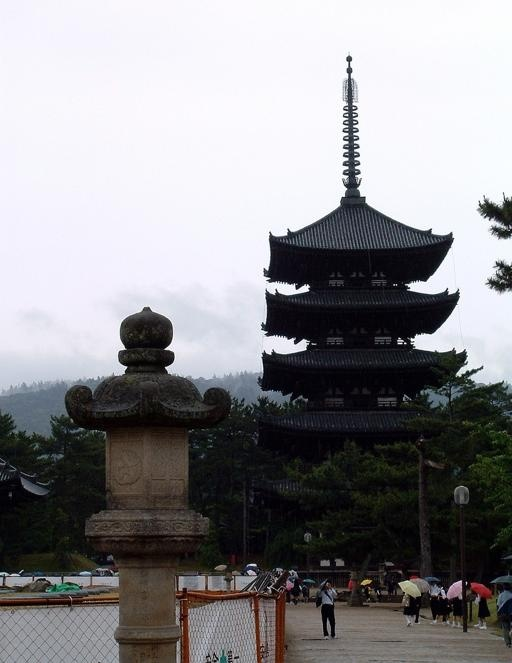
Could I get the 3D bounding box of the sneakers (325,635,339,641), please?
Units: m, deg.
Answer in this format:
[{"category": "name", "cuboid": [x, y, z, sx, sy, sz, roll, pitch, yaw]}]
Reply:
[{"category": "sneakers", "cuboid": [1.816, 7.233, 37.135, 0.276, 0.125, 0.101, -2, -3, -11]}]
